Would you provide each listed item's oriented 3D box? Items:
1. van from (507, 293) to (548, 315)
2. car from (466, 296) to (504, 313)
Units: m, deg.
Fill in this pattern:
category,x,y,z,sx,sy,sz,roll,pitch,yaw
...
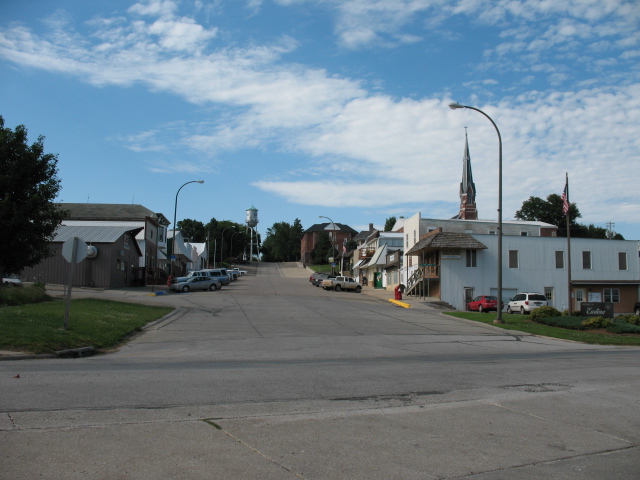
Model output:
category,x,y,z,sx,sy,sz,roll,pitch,yaw
van,14.943,4.577,40.595,1.958,1.347,3.190,0,-1,-6
car,12.261,4.839,42.452,1.126,0.801,2.498,1,-3,-6
